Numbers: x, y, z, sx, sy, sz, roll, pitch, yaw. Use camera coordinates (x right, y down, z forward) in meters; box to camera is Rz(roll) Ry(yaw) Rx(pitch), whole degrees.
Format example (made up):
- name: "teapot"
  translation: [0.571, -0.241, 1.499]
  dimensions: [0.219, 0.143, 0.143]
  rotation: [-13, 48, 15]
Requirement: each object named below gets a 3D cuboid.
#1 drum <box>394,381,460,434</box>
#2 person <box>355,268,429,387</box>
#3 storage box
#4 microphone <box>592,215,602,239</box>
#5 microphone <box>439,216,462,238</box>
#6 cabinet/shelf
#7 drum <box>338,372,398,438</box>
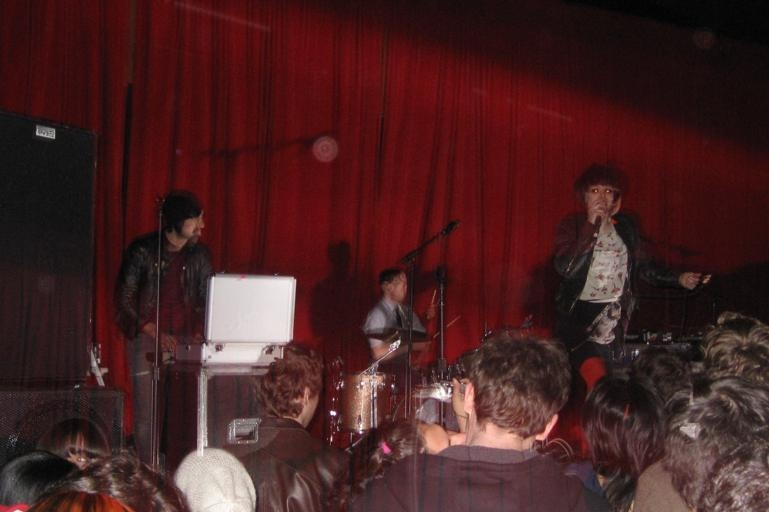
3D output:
- name: "drum"
  translation: [0.390, 1.218, 5.798]
  dimensions: [0.429, 0.228, 0.638]
  rotation: [2, -10, -16]
- name: "person"
  translation: [0.034, 0.688, 6.558]
  dimensions: [0.731, 1.140, 0.650]
  rotation: [8, -19, -29]
- name: "storage box"
  translation: [-1.024, 0.557, 5.258]
  dimensions: [0.693, 0.674, 0.655]
  rotation: [3, -3, -18]
- name: "microphone"
  translation: [1.862, -0.252, 6.274]
  dimensions: [0.084, 0.184, 0.045]
  rotation: [9, -13, 1]
- name: "microphone"
  translation: [0.600, -0.264, 6.454]
  dimensions: [0.157, 0.133, 0.406]
  rotation: [-2, 5, 13]
- name: "cabinet/shelf"
  translation: [-1.218, 1.094, 5.107]
  dimensions: [0.687, 0.751, 0.180]
  rotation: [-1, 3, -10]
- name: "drum"
  translation: [-0.201, 1.248, 6.225]
  dimensions: [0.422, 0.522, 0.448]
  rotation: [2, 4, 0]
